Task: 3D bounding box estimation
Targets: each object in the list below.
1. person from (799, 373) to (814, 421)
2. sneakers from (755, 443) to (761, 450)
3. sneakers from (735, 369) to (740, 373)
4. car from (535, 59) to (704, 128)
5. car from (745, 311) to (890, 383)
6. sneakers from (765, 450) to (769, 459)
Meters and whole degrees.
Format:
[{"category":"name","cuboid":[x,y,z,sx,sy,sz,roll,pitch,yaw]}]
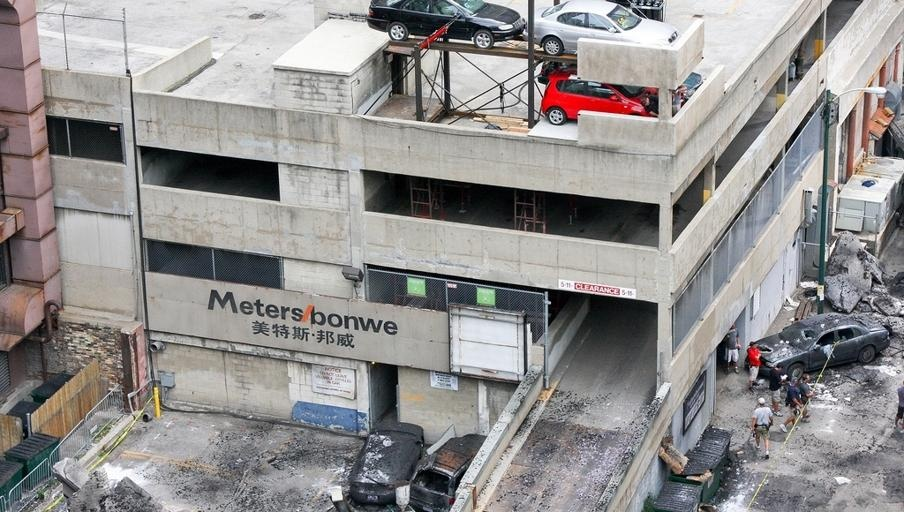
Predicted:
[{"category":"person","cuboid":[18.810,7.660,84.646,0.748,2.218,0.861,-13,53,10]},{"category":"sneakers","cuboid":[15.917,9.973,82.919,0.211,0.219,0.559,-2,15,3]},{"category":"sneakers","cuboid":[15.663,6.353,87.477,0.130,0.141,0.360,-8,29,-7]},{"category":"car","cuboid":[7.515,-8.068,79.378,6.294,2.735,3.627,5,30,17]},{"category":"car","cuboid":[20.107,5.437,87.822,7.497,2.311,3.056,-10,35,-6]},{"category":"sneakers","cuboid":[16.296,10.330,82.431,0.237,0.233,0.326,5,33,2]}]
